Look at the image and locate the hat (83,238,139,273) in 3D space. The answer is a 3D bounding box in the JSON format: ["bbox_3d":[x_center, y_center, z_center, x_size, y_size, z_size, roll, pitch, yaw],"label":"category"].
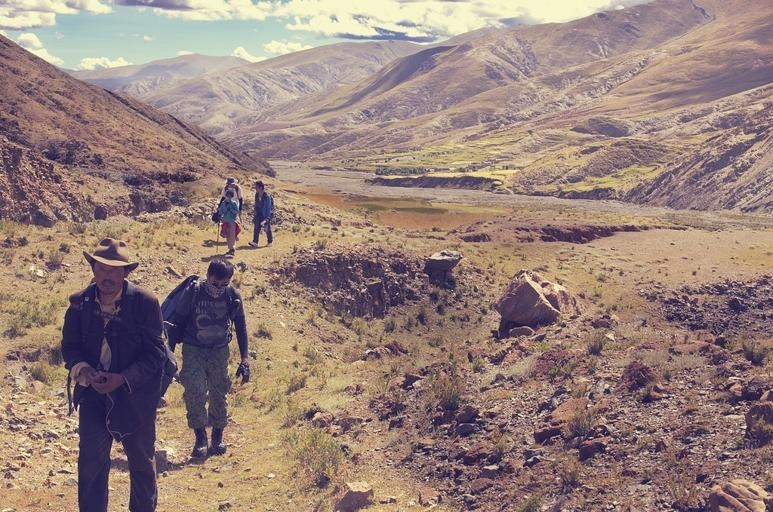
[{"bbox_3d":[-6.223,-0.014,15.791,1.075,0.773,0.471,-1,17,-18],"label":"hat"}]
